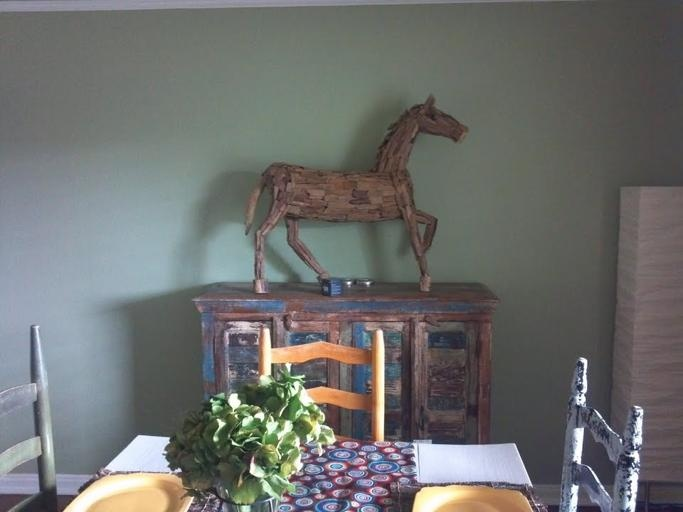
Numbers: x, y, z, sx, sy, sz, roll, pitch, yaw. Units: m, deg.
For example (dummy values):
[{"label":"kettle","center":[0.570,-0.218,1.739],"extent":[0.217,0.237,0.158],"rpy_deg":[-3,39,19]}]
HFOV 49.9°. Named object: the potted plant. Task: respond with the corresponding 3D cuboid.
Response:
[{"label":"potted plant","center":[-0.308,0.641,2.554],"extent":[0.588,0.394,0.200],"rpy_deg":[-2,-1,-16]}]
